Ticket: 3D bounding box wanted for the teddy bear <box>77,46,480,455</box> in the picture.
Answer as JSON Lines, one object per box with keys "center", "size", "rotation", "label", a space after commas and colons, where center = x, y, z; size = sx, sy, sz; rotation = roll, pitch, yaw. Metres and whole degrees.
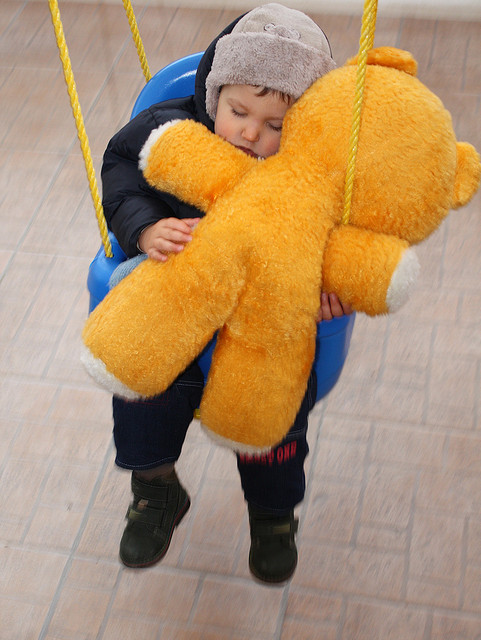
{"center": [0.062, -0.074, 0.784], "size": [0.363, 0.137, 0.432], "rotation": [32, 99, 4], "label": "teddy bear"}
